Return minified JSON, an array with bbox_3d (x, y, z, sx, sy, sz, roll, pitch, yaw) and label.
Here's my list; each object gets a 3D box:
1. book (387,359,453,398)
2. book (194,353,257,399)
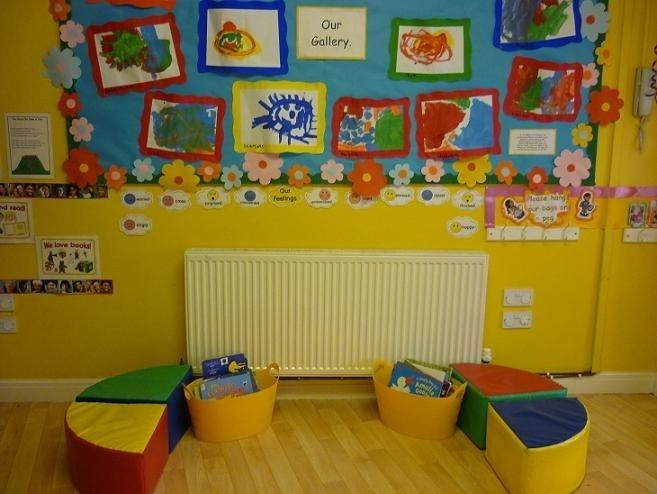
[{"bbox_3d":[0.538,0.765,3.013,0.356,0.165,0.187,0,7,16],"label":"book"},{"bbox_3d":[-0.577,0.738,2.957,0.323,0.202,0.178,-4,7,-16],"label":"book"}]
